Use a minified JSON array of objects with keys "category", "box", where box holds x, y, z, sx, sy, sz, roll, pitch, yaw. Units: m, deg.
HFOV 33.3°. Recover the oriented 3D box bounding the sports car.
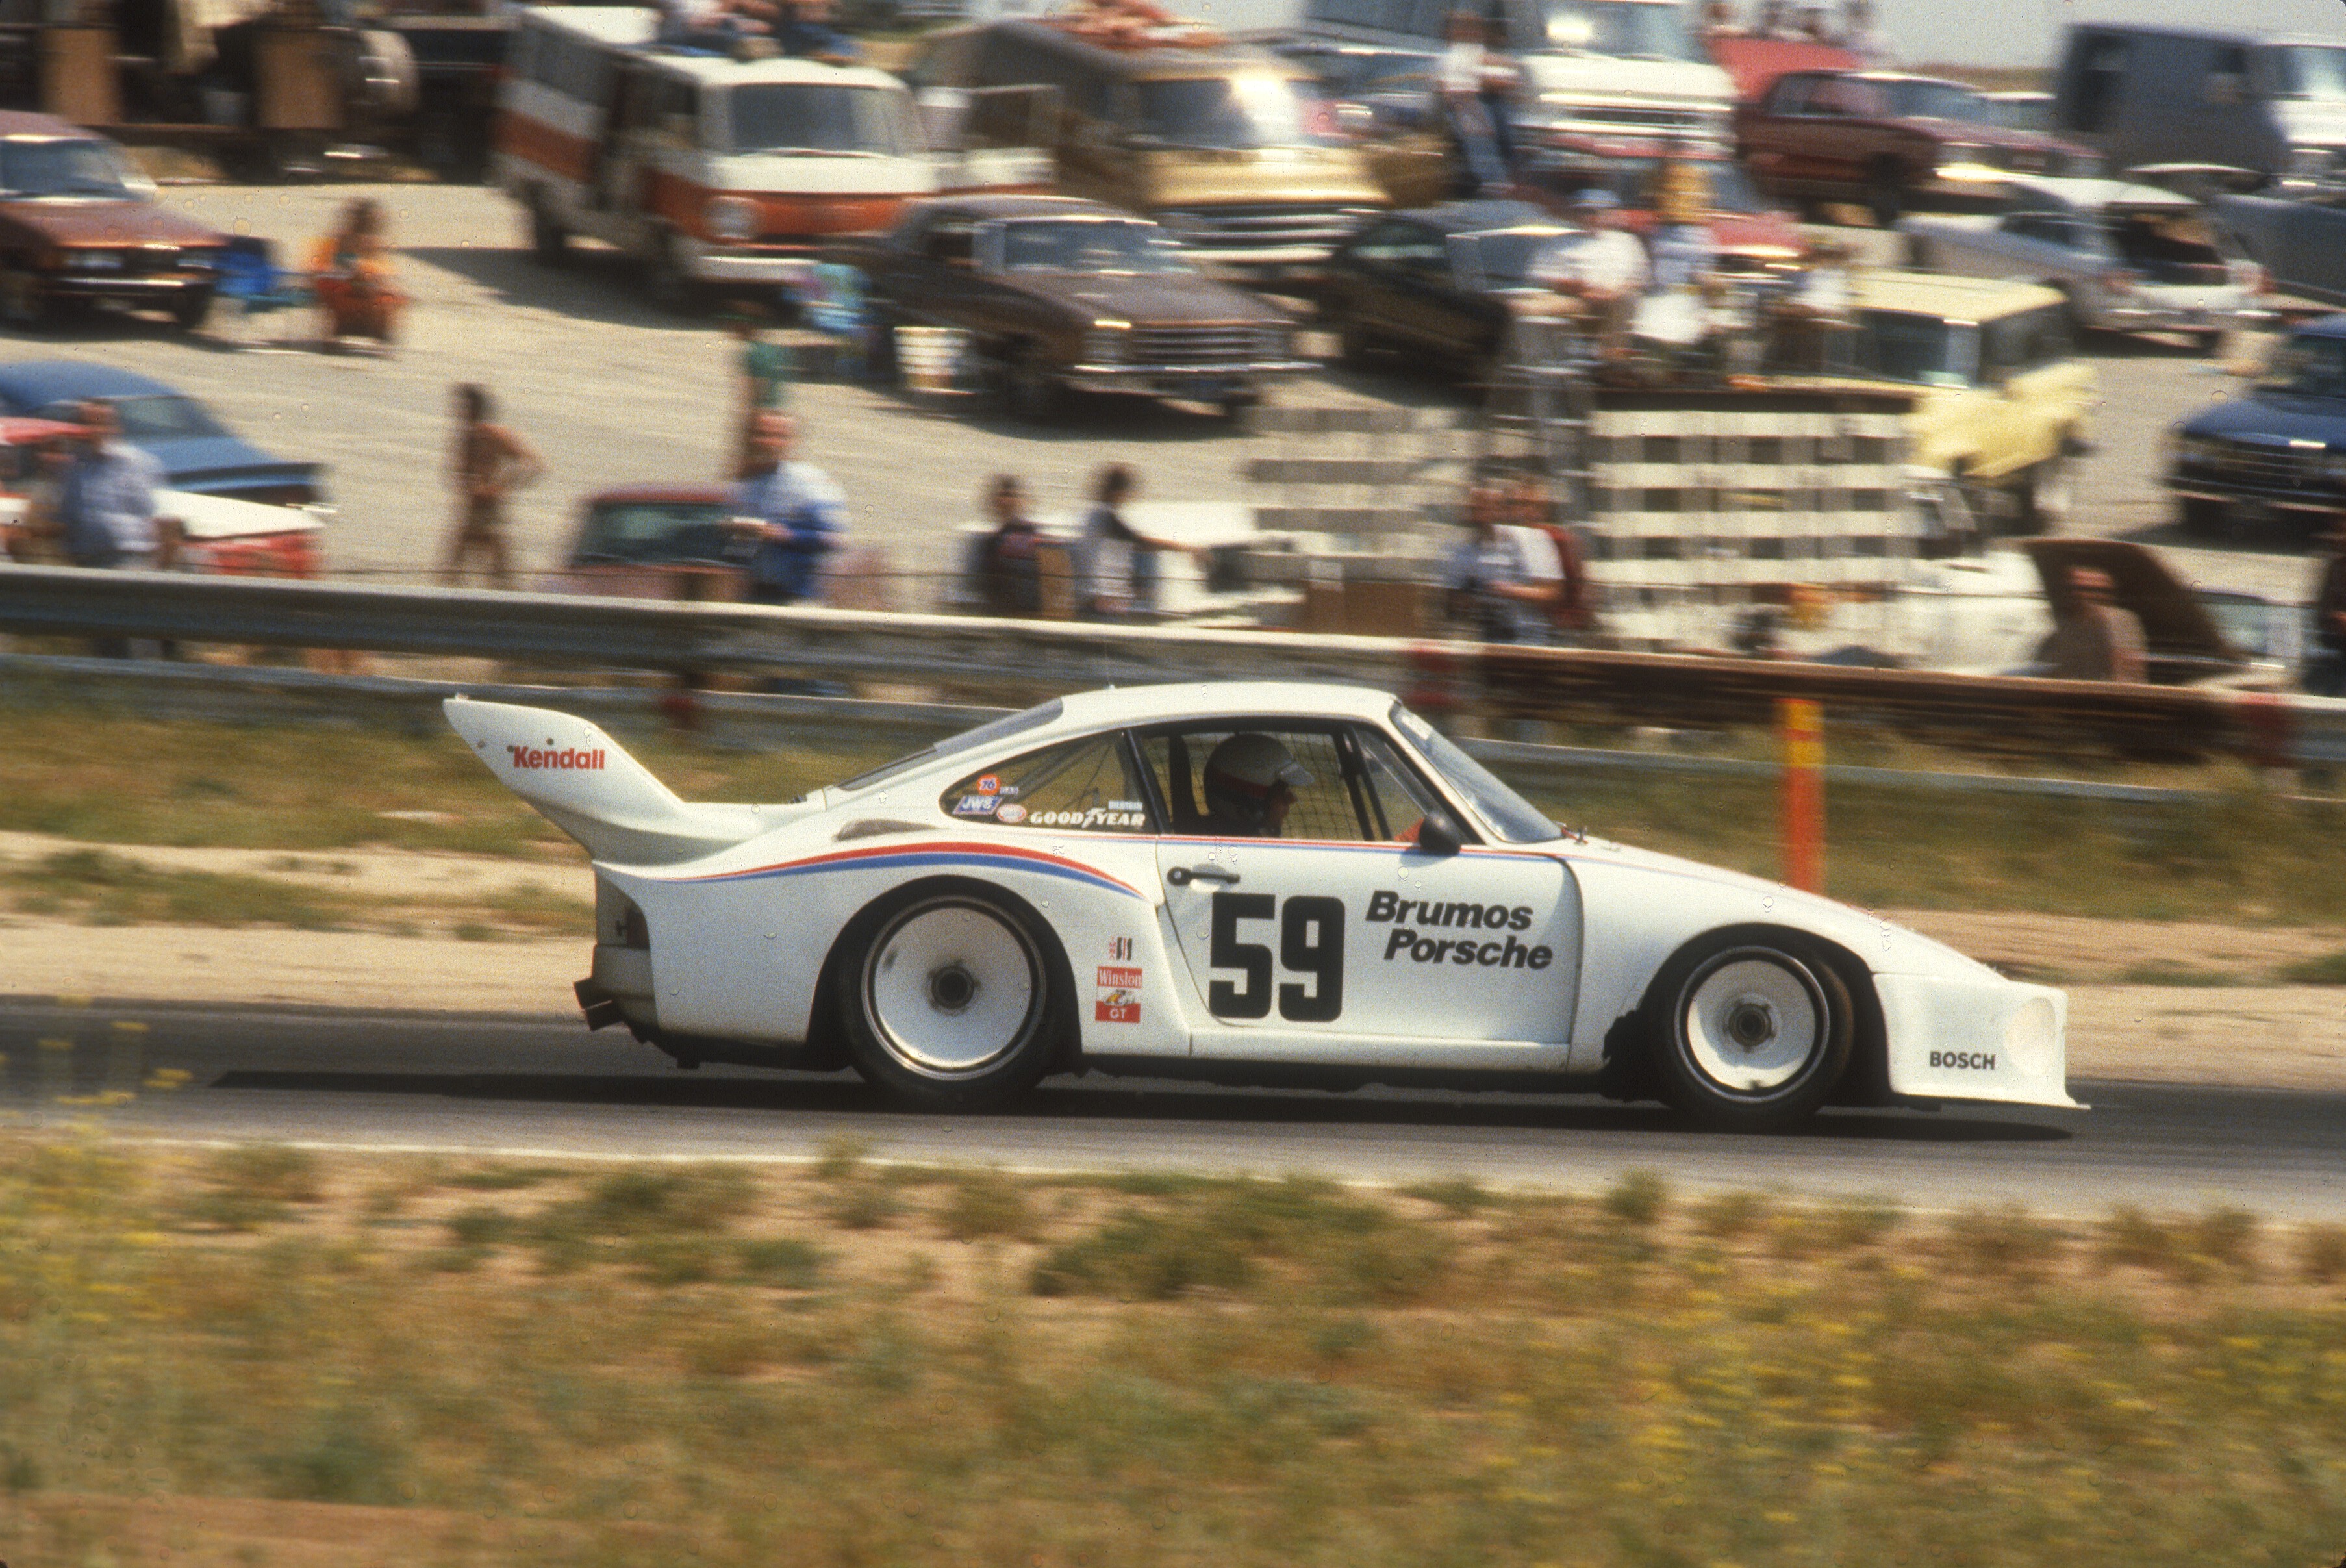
[{"category":"sports car","box":[0.541,0.602,20.699,7.616,1.248,2.928,0,2,-3]}]
